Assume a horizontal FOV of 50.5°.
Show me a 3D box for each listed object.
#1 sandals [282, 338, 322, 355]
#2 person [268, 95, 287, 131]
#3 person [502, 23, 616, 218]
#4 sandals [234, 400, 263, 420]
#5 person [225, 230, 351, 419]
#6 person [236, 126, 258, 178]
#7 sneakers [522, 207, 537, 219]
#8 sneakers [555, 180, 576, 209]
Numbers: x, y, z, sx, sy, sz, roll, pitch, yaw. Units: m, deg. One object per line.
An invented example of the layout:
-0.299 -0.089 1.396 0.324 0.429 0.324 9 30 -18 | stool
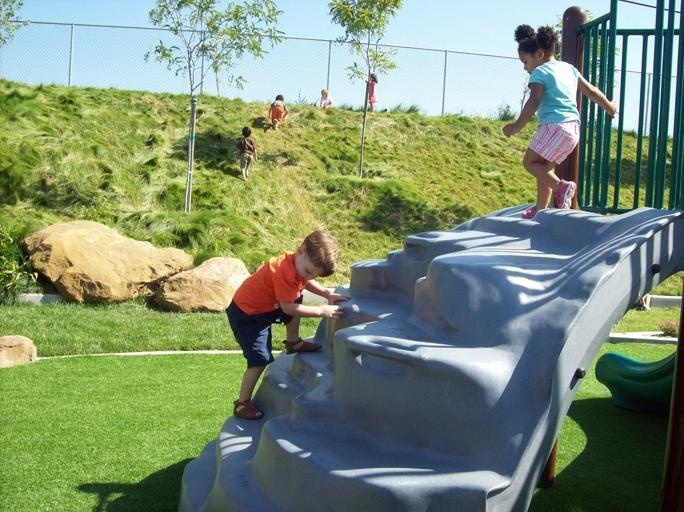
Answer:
-0.349 0.757 6.121 0.270 0.133 0.137 -4 1 7 | sandals
-1.770 -3.927 19.749 0.421 1.167 0.410 8 -18 -4 | person
1.918 -1.274 6.604 0.871 1.650 1.059 4 12 12 | person
-0.747 1.221 5.827 0.216 0.106 0.128 2 5 41 | sandals
-0.531 0.654 6.687 0.986 1.549 1.347 10 28 3 | person
-2.296 -2.539 17.596 0.423 1.208 1.451 0 12 -6 | person
1.620 -0.375 6.288 0.086 0.079 0.160 -5 -2 23 | sneakers
1.959 -0.545 6.403 0.154 0.240 0.315 12 16 43 | sneakers
